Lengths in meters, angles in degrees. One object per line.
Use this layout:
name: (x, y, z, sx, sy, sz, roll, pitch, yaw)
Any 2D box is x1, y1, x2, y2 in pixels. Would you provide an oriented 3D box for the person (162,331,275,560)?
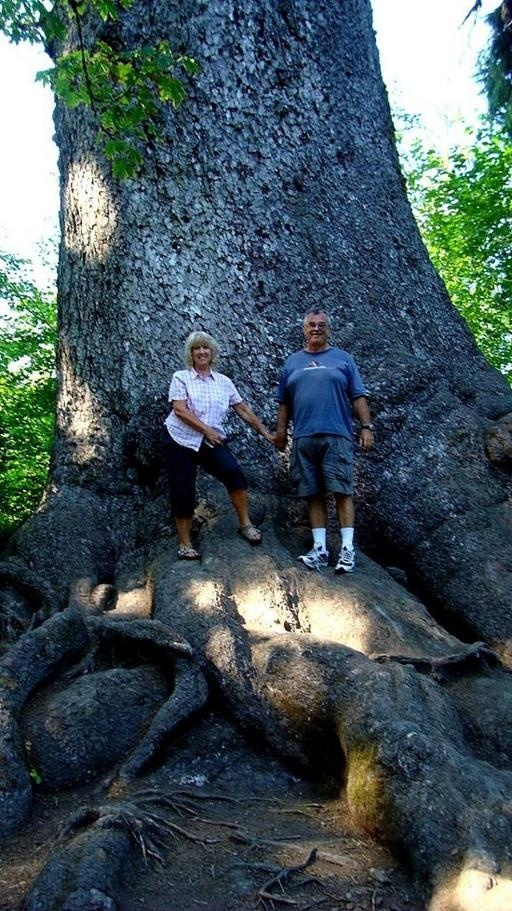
person: (-0.321, -0.103, 4.917, 0.629, 1.546, 0.625, -4, 3, -1)

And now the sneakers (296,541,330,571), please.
sneakers: (0.384, 0.683, 4.698, 0.097, 0.123, 0.253, 30, 3, 28)

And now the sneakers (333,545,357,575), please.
sneakers: (0.592, 0.707, 4.693, 0.089, 0.183, 0.164, -2, 3, 29)

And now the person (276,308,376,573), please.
person: (0.477, -0.027, 4.976, 0.726, 1.626, 0.760, -3, 3, 9)

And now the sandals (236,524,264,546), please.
sandals: (-0.051, 0.546, 4.762, 0.164, 0.125, 0.096, -3, 3, 16)
